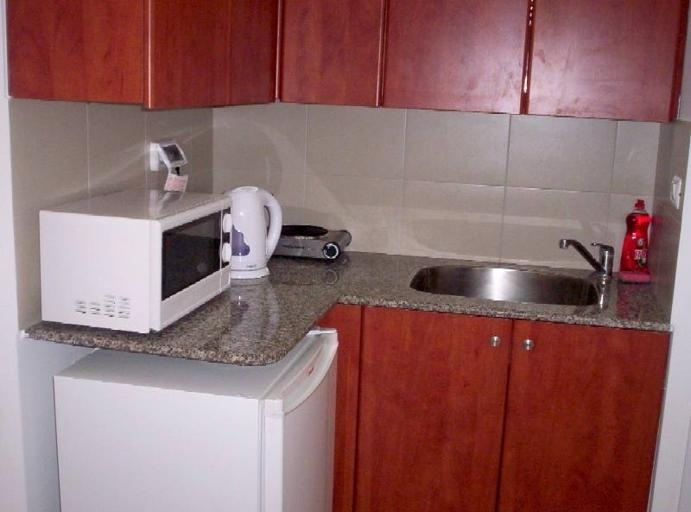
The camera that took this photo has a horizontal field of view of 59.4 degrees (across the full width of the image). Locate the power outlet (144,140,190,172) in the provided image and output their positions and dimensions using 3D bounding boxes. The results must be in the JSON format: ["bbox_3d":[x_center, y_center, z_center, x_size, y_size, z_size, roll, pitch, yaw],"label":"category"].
[{"bbox_3d":[-0.678,-0.375,2.308,0.093,0.108,0.143,4,11,6],"label":"power outlet"}]

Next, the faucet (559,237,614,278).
[{"bbox_3d":[0.984,0.004,2.474,0.210,0.150,0.260,7,12,23],"label":"faucet"}]

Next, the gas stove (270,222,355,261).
[{"bbox_3d":[-0.125,-0.109,2.662,0.299,0.146,0.326,8,18,20],"label":"gas stove"}]

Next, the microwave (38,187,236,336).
[{"bbox_3d":[-0.634,-0.083,1.867,0.383,0.342,0.523,4,13,12],"label":"microwave"}]

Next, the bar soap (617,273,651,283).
[{"bbox_3d":[1.137,0.088,2.389,0.112,0.041,0.030,8,12,26],"label":"bar soap"}]
